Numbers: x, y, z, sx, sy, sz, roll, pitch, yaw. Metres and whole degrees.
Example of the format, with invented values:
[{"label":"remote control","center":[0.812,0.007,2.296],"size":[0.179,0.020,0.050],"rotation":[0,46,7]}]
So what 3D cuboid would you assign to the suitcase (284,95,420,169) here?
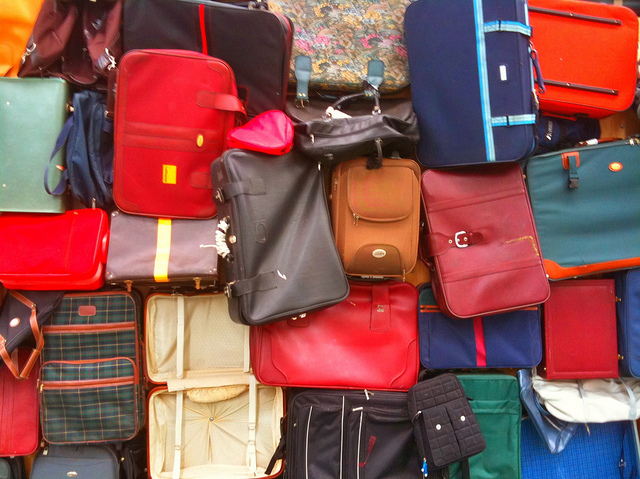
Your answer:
[{"label":"suitcase","center":[0.158,-0.509,2.989],"size":[0.412,0.179,0.458],"rotation":[4,54,-5]}]

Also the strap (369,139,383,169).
[{"label":"strap","center":[0.243,-0.384,2.933],"size":[0.026,0.090,0.088],"rotation":[4,81,-2]}]

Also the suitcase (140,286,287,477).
[{"label":"suitcase","center":[-0.562,0.692,2.920],"size":[0.638,0.275,0.974],"rotation":[-1,94,-2]}]

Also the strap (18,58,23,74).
[{"label":"strap","center":[-1.372,-0.800,3.000],"size":[0.007,0.031,0.034],"rotation":[15,87,-2]}]

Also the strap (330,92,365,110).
[{"label":"strap","center":[0.135,-0.672,3.105],"size":[0.097,0.102,0.033],"rotation":[-29,90,9]}]

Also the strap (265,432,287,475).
[{"label":"strap","center":[-0.210,1.003,3.129],"size":[0.057,0.034,0.240],"rotation":[23,90,-16]}]

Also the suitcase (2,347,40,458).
[{"label":"suitcase","center":[-1.451,0.779,3.228],"size":[0.290,0.105,0.445],"rotation":[1,92,-5]}]

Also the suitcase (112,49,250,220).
[{"label":"suitcase","center":[-0.657,-0.447,3.109],"size":[0.615,0.370,0.820],"rotation":[4,77,-8]}]

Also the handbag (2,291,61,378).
[{"label":"handbag","center":[-1.382,0.443,3.182],"size":[0.332,0.113,0.391],"rotation":[4,87,1]}]

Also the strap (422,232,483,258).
[{"label":"strap","center":[0.639,0.008,3.141],"size":[0.278,0.114,0.119],"rotation":[-5,91,-7]}]

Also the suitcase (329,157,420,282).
[{"label":"suitcase","center":[0.296,-0.161,3.143],"size":[0.423,0.334,0.637],"rotation":[-2,116,-3]}]

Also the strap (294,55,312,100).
[{"label":"strap","center":[-0.081,-0.761,3.074],"size":[0.088,0.031,0.219],"rotation":[9,102,26]}]

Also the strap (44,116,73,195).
[{"label":"strap","center":[-1.200,-0.379,3.007],"size":[0.172,0.069,0.315],"rotation":[13,92,-28]}]

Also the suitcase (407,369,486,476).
[{"label":"suitcase","center":[0.587,0.869,3.055],"size":[0.306,0.231,0.444],"rotation":[-14,74,-12]}]

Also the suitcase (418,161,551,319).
[{"label":"suitcase","center":[0.767,-0.013,3.120],"size":[0.541,0.207,0.696],"rotation":[-8,72,-4]}]

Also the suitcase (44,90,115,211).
[{"label":"suitcase","center":[-1.098,-0.405,3.044],"size":[0.345,0.162,0.540],"rotation":[12,87,-16]}]

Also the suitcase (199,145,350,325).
[{"label":"suitcase","center":[-0.196,0.007,2.930],"size":[0.594,0.230,0.835],"rotation":[-5,88,-13]}]

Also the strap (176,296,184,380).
[{"label":"strap","center":[-0.665,0.472,3.164],"size":[0.036,0.055,0.390],"rotation":[1,90,-25]}]

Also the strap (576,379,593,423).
[{"label":"strap","center":[1.297,0.807,3.203],"size":[0.031,0.016,0.257],"rotation":[-2,67,-5]}]

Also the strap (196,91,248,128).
[{"label":"strap","center":[-0.439,-0.604,2.975],"size":[0.165,0.123,0.067],"rotation":[13,82,-22]}]

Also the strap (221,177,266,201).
[{"label":"strap","center":[-0.330,-0.228,2.932],"size":[0.153,0.049,0.102],"rotation":[-7,73,-16]}]

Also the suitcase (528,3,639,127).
[{"label":"suitcase","center":[1.260,-0.863,3.136],"size":[0.529,0.220,0.575],"rotation":[3,86,-4]}]

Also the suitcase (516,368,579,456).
[{"label":"suitcase","center":[1.069,0.859,3.294],"size":[0.346,0.127,0.375],"rotation":[-26,89,-26]}]

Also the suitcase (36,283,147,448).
[{"label":"suitcase","center":[-1.117,0.583,3.252],"size":[0.435,0.405,0.783],"rotation":[0,105,-10]}]

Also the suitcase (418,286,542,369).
[{"label":"suitcase","center":[0.799,0.531,3.289],"size":[0.599,0.655,0.184],"rotation":[-1,109,11]}]

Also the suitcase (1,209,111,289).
[{"label":"suitcase","center":[-1.235,0.032,3.027],"size":[0.505,0.164,0.341],"rotation":[-1,71,-1]}]

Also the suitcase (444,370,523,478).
[{"label":"suitcase","center":[0.859,0.895,3.309],"size":[0.345,0.144,0.526],"rotation":[-2,95,-1]}]
